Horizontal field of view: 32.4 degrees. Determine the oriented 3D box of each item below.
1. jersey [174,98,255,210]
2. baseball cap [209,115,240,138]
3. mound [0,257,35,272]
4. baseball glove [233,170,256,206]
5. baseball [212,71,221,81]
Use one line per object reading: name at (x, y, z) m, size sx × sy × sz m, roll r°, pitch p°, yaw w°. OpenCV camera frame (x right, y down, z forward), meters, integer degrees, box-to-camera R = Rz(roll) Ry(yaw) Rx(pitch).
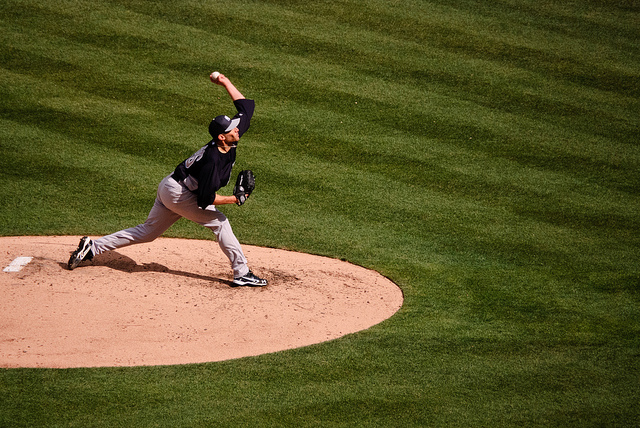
jersey at (-1.619, -0.865, 17.629) m, size 0.849 × 1.525 × 1.053 m, roll 39°, pitch 27°, yaw 8°
baseball cap at (-1.528, -1.395, 17.379) m, size 0.269 × 0.421 × 0.164 m, roll -106°, pitch 171°, yaw -57°
mound at (-4.882, 0.828, 17.755) m, size 0.212 × 0.004 × 0.441 m, roll 13°, pitch 29°, yaw 10°
baseball glove at (-1.205, -0.432, 17.558) m, size 0.367 × 0.514 × 0.167 m, roll 4°, pitch -1°, yaw -18°
baseball at (-1.668, -2.223, 17.740) m, size 0.132 × 0.105 × 0.123 m, roll -2°, pitch 5°, yaw -22°
